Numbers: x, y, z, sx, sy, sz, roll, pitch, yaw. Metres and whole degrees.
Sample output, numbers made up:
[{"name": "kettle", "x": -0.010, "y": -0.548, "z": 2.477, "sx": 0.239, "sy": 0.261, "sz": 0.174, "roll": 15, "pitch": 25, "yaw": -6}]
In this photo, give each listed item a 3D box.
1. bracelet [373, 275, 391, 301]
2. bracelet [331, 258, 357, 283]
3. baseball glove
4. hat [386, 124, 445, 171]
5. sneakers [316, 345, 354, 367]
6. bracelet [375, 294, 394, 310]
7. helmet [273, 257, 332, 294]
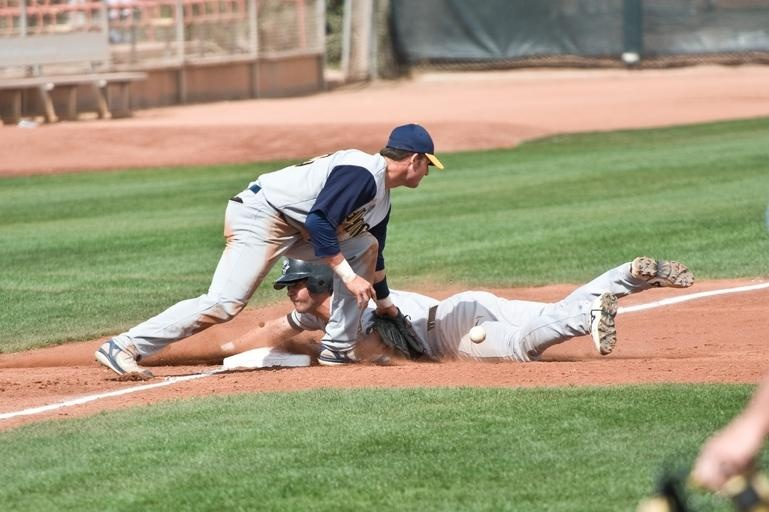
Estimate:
[{"name": "bracelet", "x": -0.051, "y": 0.405, "z": 16.517, "sx": 0.284, "sy": 0.251, "sz": 0.264, "roll": -15, "pitch": 0, "yaw": -7}, {"name": "bracelet", "x": -0.477, "y": 0.190, "z": 15.863, "sx": 0.214, "sy": 0.339, "sz": 0.148, "roll": -41, "pitch": 5, "yaw": 1}, {"name": "baseball glove", "x": 0.157, "y": 0.976, "z": 16.504, "sx": 0.545, "sy": 0.634, "sz": 0.330, "roll": -6, "pitch": 4, "yaw": -8}, {"name": "hat", "x": 0.392, "y": -1.259, "z": 16.041, "sx": 0.680, "sy": 0.351, "sz": 0.431, "roll": 20, "pitch": 3, "yaw": -10}, {"name": "sneakers", "x": -0.584, "y": 1.228, "z": 16.447, "sx": 0.460, "sy": 0.160, "sz": 0.190, "roll": 0, "pitch": 4, "yaw": 5}, {"name": "bracelet", "x": -0.003, "y": 0.581, "z": 16.513, "sx": 0.179, "sy": 0.114, "sz": 0.163, "roll": -23, "pitch": 14, "yaw": 1}, {"name": "helmet", "x": -0.997, "y": 0.259, "z": 16.586, "sx": 0.638, "sy": 0.376, "sz": 0.416, "roll": -6, "pitch": 1, "yaw": -8}]
